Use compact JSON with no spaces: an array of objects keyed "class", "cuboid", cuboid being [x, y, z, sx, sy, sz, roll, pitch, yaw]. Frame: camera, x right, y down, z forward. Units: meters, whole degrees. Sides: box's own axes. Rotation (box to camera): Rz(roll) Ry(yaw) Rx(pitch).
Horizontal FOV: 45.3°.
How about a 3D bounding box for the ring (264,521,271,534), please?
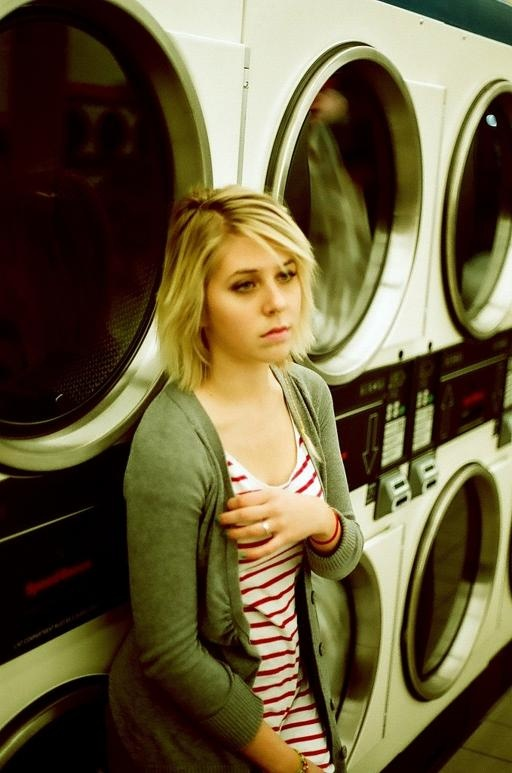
[{"class":"ring","cuboid":[0.014,0.189,0.828,0.003,0.013,0.012,-5,7,10]}]
